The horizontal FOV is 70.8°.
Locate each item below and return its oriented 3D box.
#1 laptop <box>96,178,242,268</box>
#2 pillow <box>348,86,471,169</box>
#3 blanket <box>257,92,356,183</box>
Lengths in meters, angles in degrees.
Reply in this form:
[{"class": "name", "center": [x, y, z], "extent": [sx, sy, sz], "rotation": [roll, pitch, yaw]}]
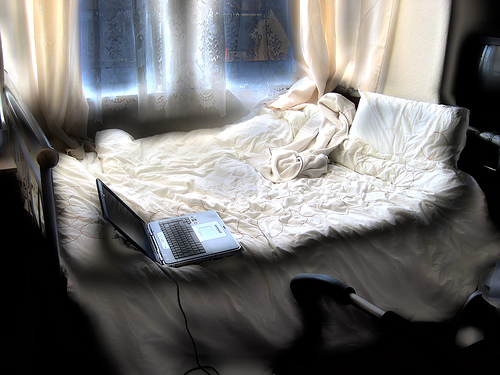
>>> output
[{"class": "laptop", "center": [-0.302, 0.186, 1.433], "extent": [0.420, 0.274, 0.401], "rotation": [-17, 35, -15]}, {"class": "pillow", "center": [0.963, -0.354, 2.130], "extent": [0.676, 0.471, 0.168], "rotation": [21, 7, 40]}, {"class": "blanket", "center": [0.426, -0.299, 2.329], "extent": [0.452, 0.149, 0.794], "rotation": [32, 65, 34]}]
